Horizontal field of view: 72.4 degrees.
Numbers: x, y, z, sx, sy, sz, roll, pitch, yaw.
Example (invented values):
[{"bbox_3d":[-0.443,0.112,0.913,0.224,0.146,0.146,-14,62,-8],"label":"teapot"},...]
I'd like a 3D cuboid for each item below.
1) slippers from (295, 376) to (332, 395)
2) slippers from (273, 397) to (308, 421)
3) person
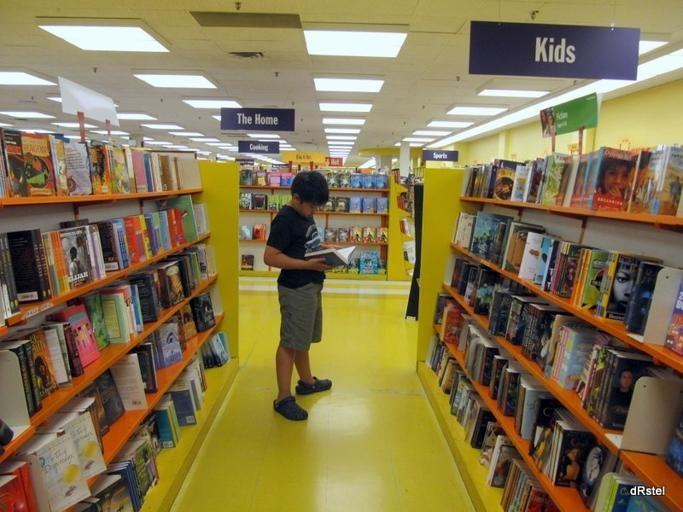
[{"bbox_3d":[-0.251,1.202,4.306,0.280,0.117,0.138,-2,3,-15],"label":"slippers"},{"bbox_3d":[-0.414,1.278,3.912,0.150,0.105,0.252,0,2,-42],"label":"slippers"},{"bbox_3d":[-0.370,0.317,3.926,0.500,2.040,0.537,0,11,-6],"label":"person"}]
